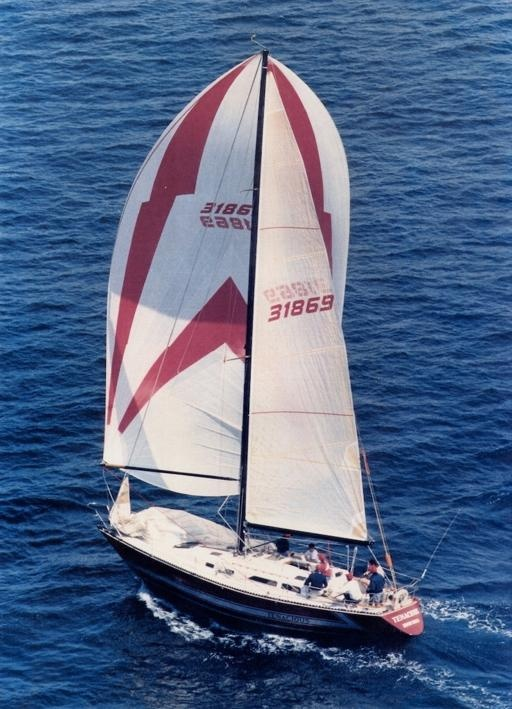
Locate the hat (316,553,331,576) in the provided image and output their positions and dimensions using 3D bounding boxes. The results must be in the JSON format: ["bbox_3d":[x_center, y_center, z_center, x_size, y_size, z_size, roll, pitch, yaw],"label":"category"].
[{"bbox_3d":[2.269,6.889,45.257,0.268,0.577,0.617,-8,75,-11],"label":"hat"}]

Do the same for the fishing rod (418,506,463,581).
[{"bbox_3d":[6.613,6.862,49.473,0.326,0.164,2.931,26,48,13],"label":"fishing rod"}]

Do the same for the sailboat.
[{"bbox_3d":[0.302,0.269,44.157,11.895,5.816,18.054,10,107,28],"label":"sailboat"}]
